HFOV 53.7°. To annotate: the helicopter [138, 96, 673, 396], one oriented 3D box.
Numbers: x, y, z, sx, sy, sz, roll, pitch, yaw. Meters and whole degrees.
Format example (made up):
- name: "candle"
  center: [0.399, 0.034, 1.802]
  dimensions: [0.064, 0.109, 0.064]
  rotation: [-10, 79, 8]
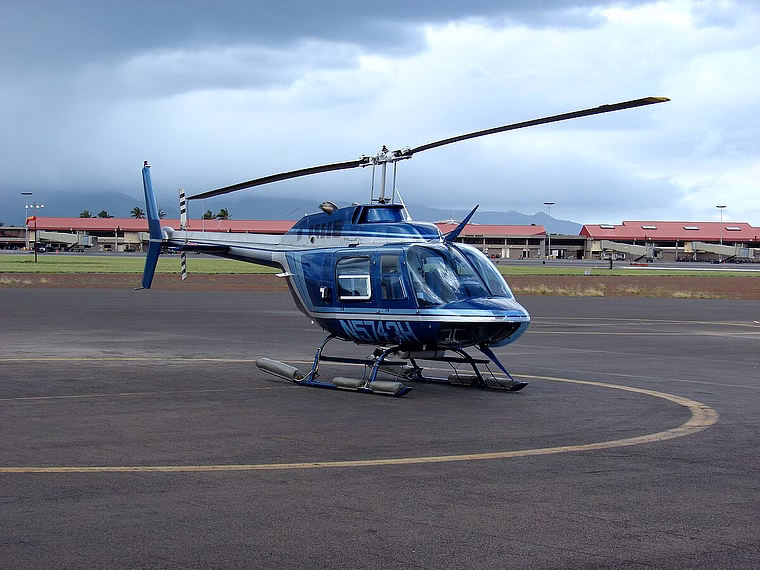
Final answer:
- name: "helicopter"
  center: [-0.322, -0.420, 15.883]
  dimensions: [5.269, 5.310, 8.956]
  rotation: [-2, 5, -21]
